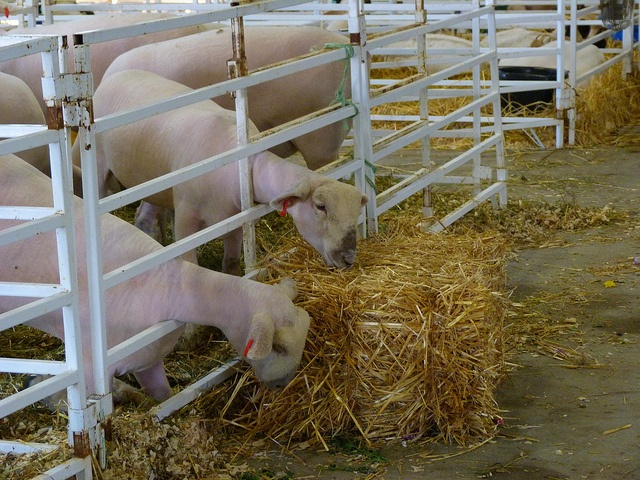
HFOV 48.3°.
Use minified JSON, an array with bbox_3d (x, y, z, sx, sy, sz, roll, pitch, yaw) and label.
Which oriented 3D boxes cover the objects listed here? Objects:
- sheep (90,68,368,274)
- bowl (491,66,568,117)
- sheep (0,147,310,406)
[{"bbox_3d":[-0.599,-0.434,4.525,2.278,1.045,0.678,20,33,24],"label":"sheep"},{"bbox_3d":[2.749,-1.984,9.567,0.797,0.518,0.791,-1,10,0],"label":"bowl"},{"bbox_3d":[-0.922,0.219,3.682,1.643,1.301,0.629,-1,13,11],"label":"sheep"}]
